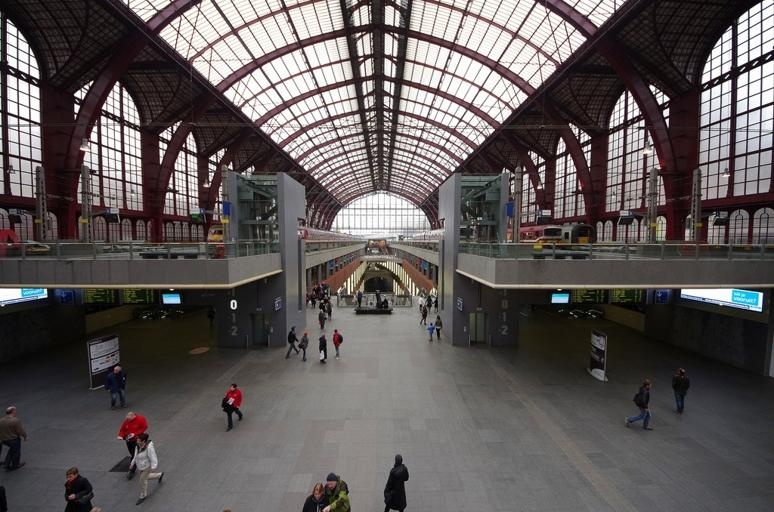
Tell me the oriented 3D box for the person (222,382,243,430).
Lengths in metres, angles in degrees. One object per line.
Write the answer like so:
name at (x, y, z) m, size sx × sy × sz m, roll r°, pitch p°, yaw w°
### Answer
person at (-7.450, 7.324, 24.106) m, size 1.209 × 2.071 × 0.815 m, roll -4°, pitch 13°, yaw -42°

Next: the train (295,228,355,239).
train at (-7.743, -2.866, 64.446) m, size 1.318 × 1.180 × 26.712 m, roll -9°, pitch 1°, yaw 6°

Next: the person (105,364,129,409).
person at (-13.941, 6.629, 25.379) m, size 0.854 × 2.166 × 1.354 m, roll -4°, pitch 9°, yaw -29°

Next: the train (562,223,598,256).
train at (11.941, -1.177, 30.664) m, size 1.819 × 1.230 × 10.037 m, roll 3°, pitch 9°, yaw 20°

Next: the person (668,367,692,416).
person at (14.945, 6.800, 25.102) m, size 0.643 × 2.305 × 1.291 m, roll 6°, pitch 10°, yaw 34°
